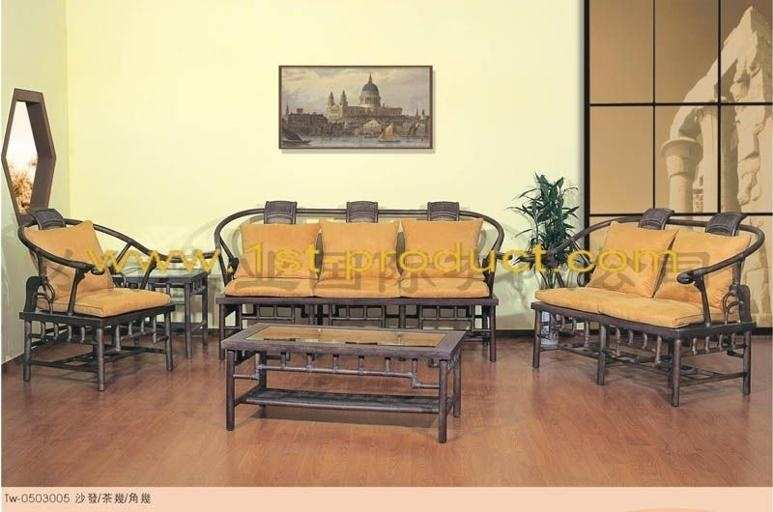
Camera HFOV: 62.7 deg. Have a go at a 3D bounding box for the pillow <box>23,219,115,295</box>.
[{"bbox_3d":[-2.615,0.025,5.201,0.367,0.591,0.691,-6,0,25],"label":"pillow"}]

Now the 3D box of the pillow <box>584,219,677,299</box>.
[{"bbox_3d":[2.039,0.022,5.264,0.206,0.574,0.640,16,-2,-35],"label":"pillow"}]

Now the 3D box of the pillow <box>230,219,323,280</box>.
[{"bbox_3d":[-0.983,-0.044,5.939,0.833,0.516,0.283,0,10,14],"label":"pillow"}]

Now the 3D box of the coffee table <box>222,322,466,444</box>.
[{"bbox_3d":[-0.252,0.830,4.682,1.646,0.664,1.138,-1,6,6],"label":"coffee table"}]

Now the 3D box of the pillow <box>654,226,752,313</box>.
[{"bbox_3d":[2.480,0.115,5.057,0.421,0.556,0.671,-12,8,-19],"label":"pillow"}]
